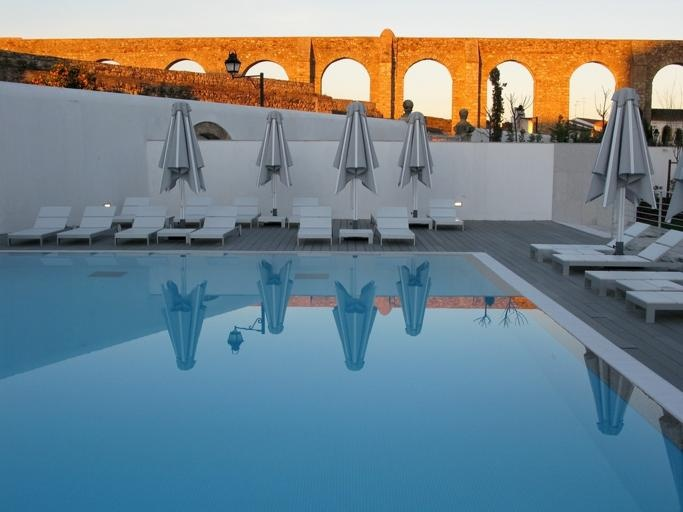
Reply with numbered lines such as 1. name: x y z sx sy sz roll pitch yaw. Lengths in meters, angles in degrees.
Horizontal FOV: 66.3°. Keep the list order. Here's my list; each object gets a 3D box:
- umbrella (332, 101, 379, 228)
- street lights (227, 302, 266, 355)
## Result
1. umbrella: 0.291 -1.840 10.878 0.876 2.596 0.723 1 14 1
2. street lights: -1.005 0.858 5.776 0.429 0.685 0.187 2 -1 -8
